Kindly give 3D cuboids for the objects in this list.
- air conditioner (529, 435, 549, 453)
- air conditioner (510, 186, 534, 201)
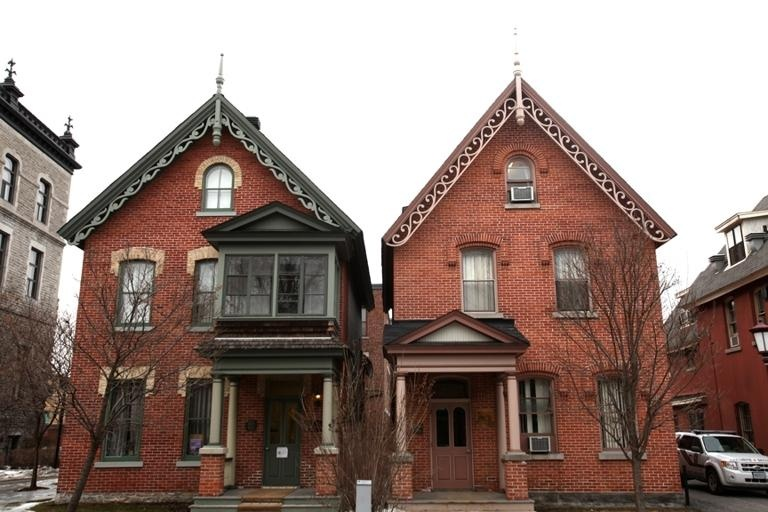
[{"bbox_3d":[5.749,7.070,26.173,0.926,0.671,0.526,1,-18,-1],"label":"air conditioner"},{"bbox_3d":[5.474,-2.461,27.794,1.025,0.695,0.553,0,-10,5],"label":"air conditioner"}]
